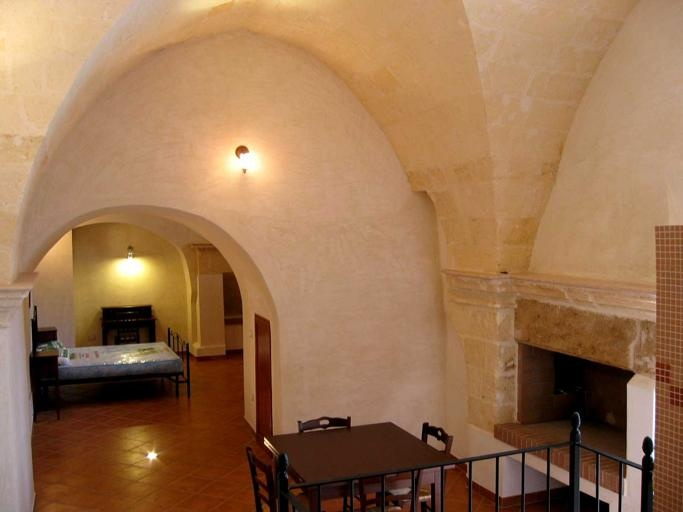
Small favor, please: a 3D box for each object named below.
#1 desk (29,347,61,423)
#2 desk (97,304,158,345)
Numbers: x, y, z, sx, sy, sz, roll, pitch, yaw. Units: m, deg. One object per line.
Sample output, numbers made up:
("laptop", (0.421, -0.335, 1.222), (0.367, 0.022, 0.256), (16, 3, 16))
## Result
("desk", (-5.159, 2.217, 9.373), (0.449, 1.113, 1.195), (-2, 6, -19))
("desk", (-5.660, 1.726, 14.424), (1.560, 1.593, 0.881), (-1, 0, -21))
